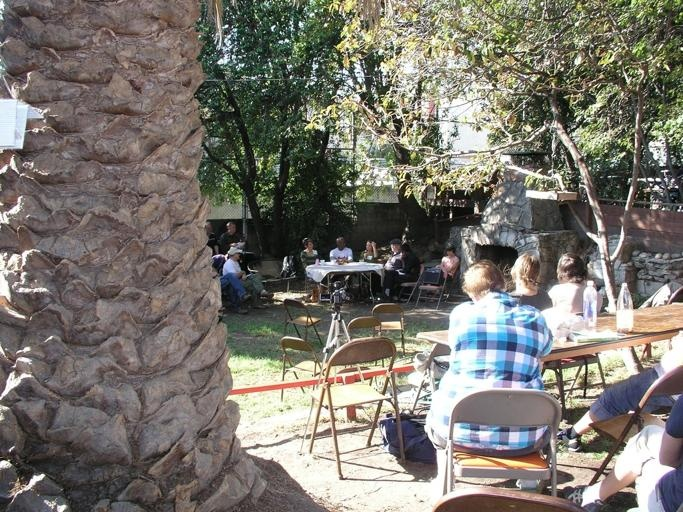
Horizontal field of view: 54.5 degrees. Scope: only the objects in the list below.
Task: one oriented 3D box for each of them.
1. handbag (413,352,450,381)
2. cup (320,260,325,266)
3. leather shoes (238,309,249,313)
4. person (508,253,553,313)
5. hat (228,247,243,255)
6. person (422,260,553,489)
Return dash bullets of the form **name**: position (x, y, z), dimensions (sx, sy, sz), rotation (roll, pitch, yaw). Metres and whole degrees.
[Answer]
- **handbag**: position (0.745, 0.900, 5.385), dimensions (0.280, 0.116, 0.332), rotation (3, 9, 16)
- **cup**: position (-0.388, 0.152, 13.695), dimensions (0.102, 0.122, 0.101), rotation (1, -7, 0)
- **leather shoes**: position (-1.780, 1.016, 12.058), dimensions (0.067, 0.084, 0.200), rotation (0, -4, -32)
- **person**: position (2.030, 0.267, 6.970), dimensions (0.397, 0.464, 0.879), rotation (-5, -44, 12)
- **hat**: position (-1.990, -0.042, 12.504), dimensions (0.245, 0.098, 0.170), rotation (-8, 12, -14)
- **person**: position (0.940, 0.833, 4.224), dimensions (0.830, 1.558, 0.706), rotation (-2, 1, 11)
